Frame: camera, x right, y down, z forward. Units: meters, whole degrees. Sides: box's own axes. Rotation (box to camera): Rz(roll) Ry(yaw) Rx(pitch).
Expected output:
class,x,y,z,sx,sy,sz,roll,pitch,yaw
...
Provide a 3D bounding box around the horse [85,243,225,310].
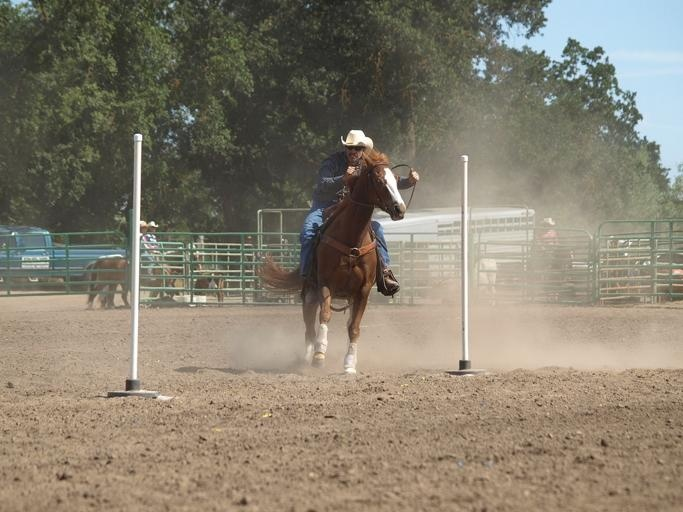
class,x,y,z,sx,sy,sz,roll,pitch,yaw
horse,-5.669,0.617,33.093,3.599,1.813,1.756,-3,13,-15

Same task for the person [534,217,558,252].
class,x,y,z,sx,sy,sz,roll,pitch,yaw
person,6.705,-0.670,36.246,0.834,1.169,2.755,0,-3,7

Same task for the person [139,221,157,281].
class,x,y,z,sx,sy,sz,roll,pitch,yaw
person,-5.621,-0.162,32.996,0.520,1.607,2.505,-2,13,-9

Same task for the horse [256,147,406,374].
class,x,y,z,sx,sy,sz,roll,pitch,yaw
horse,-0.095,0.177,24.823,3.060,4.915,1.422,7,14,29
